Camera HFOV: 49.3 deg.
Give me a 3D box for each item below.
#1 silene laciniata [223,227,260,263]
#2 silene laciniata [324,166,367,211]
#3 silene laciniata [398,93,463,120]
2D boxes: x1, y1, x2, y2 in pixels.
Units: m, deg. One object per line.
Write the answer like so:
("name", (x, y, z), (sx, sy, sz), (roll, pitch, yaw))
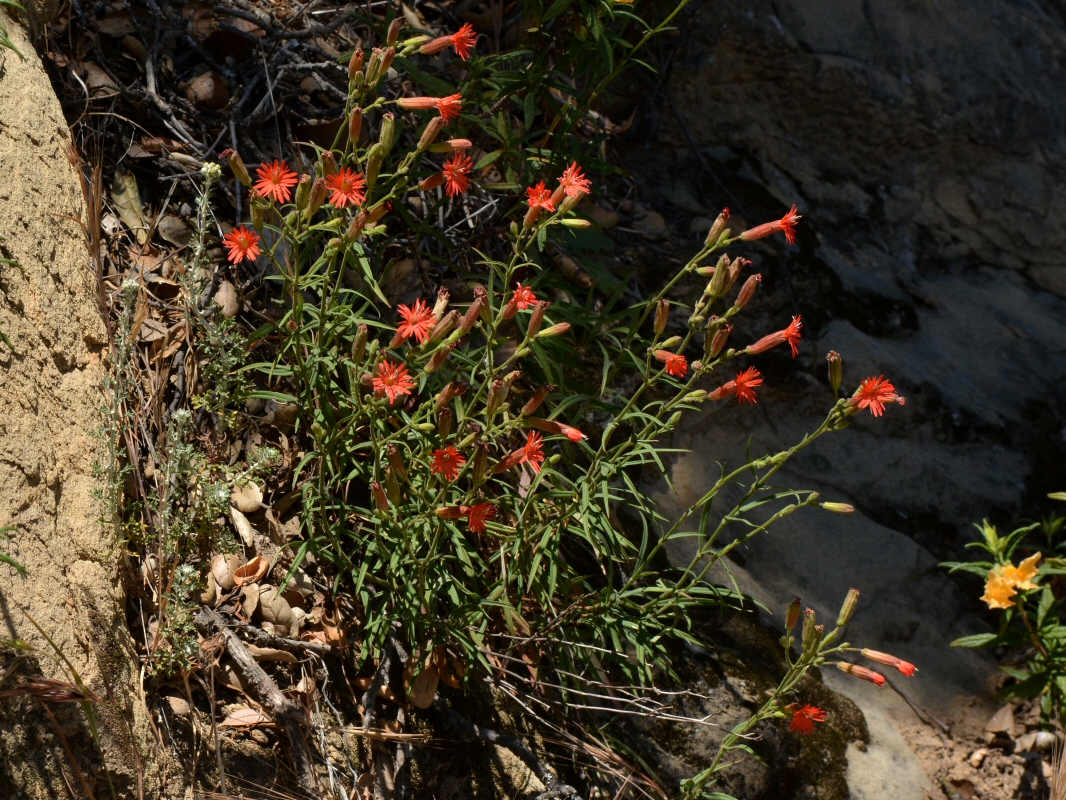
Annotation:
("silene laciniata", (-0.953, -0.501, 3.808), (0.101, 0.088, 0.241), (26, 12, -14))
("silene laciniata", (-0.597, -0.676, 3.716), (0.061, 0.127, 0.141), (-151, -139, -87))
("silene laciniata", (-0.334, -0.956, 3.804), (0.186, 0.101, 0.115), (1, 21, 9))
